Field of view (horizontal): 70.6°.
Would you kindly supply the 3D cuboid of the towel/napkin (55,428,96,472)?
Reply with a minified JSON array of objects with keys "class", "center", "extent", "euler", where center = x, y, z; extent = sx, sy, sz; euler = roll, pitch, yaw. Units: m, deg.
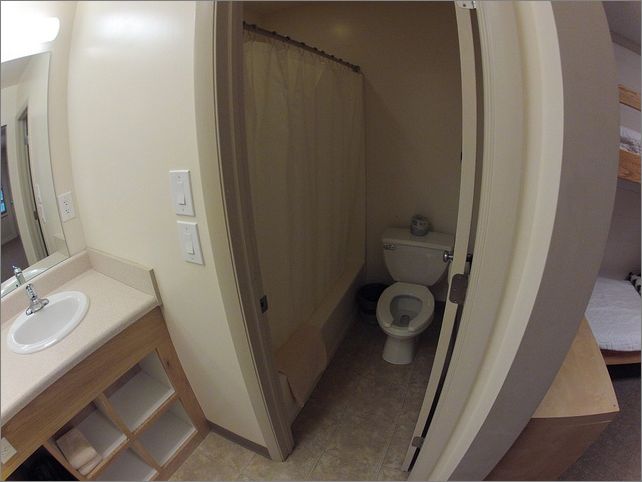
[{"class":"towel/napkin","center":[-1.121,0.948,2.072],"extent":[0.169,0.046,0.119],"euler":[44,48,18]}]

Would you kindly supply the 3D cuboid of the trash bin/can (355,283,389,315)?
[{"class":"trash bin/can","center":[0.371,0.414,3.386],"extent":[0.171,0.176,0.223],"euler":[2,27,9]}]

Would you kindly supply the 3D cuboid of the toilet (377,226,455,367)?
[{"class":"toilet","center":[0.587,0.390,3.102],"extent":[0.407,0.766,0.720],"euler":[11,31,16]}]

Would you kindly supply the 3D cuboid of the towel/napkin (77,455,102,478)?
[{"class":"towel/napkin","center":[-1.055,1.015,2.062],"extent":[0.076,0.020,0.079],"euler":[-33,-6,-5]}]

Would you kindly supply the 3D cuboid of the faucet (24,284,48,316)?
[{"class":"faucet","center":[-1.327,0.274,2.099],"extent":[0.059,0.110,0.087],"euler":[19,32,27]}]
